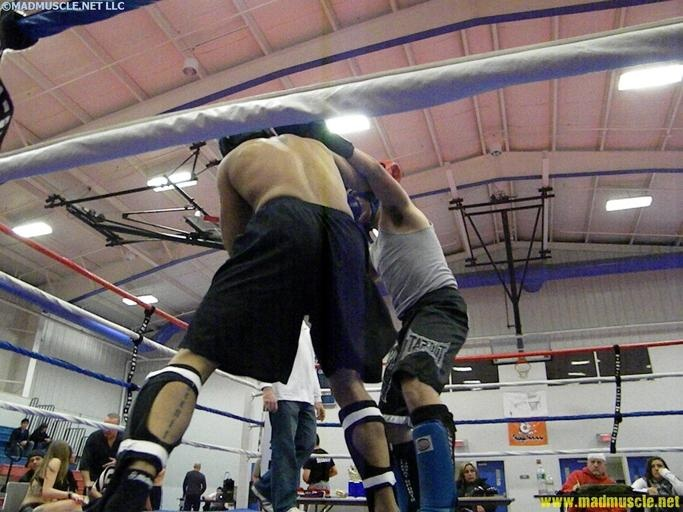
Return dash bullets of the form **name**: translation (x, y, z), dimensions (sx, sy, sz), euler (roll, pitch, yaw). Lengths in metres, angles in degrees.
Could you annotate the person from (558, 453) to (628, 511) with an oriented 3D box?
- **person**: translation (2.841, 2.554, 4.778), dimensions (0.612, 0.589, 1.609), euler (-10, -29, 24)
